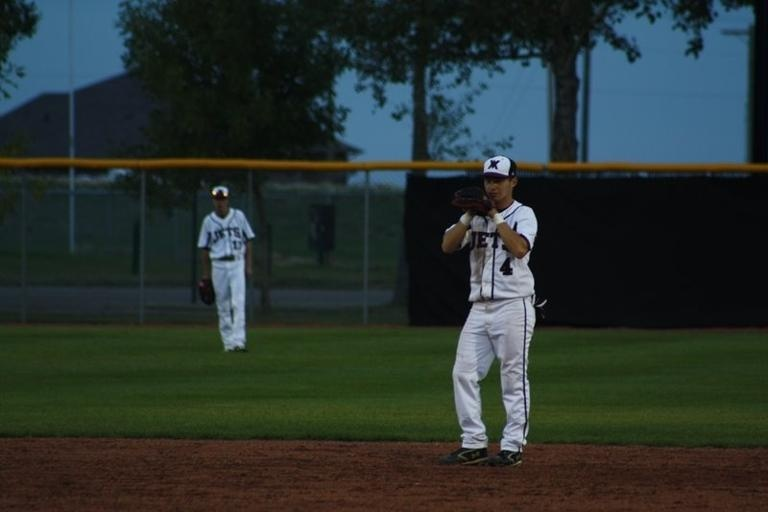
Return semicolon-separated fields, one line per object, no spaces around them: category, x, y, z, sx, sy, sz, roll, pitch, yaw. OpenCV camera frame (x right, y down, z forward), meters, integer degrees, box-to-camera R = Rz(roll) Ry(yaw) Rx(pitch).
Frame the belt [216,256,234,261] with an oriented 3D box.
belt;-2.384;0.024;23.274;0.257;0.069;0.025;0;1;-6

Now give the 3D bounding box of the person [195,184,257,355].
person;-2.397;0.200;23.385;0.730;2.422;0.583;1;1;6

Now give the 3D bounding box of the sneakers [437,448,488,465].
sneakers;0.967;2.507;19.630;0.635;0.270;0.233;1;-1;-1

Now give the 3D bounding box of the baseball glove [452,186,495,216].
baseball glove;1.088;-0.680;19.508;0.469;0.335;0.210;1;1;2

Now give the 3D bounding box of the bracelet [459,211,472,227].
bracelet;1.008;-0.464;19.582;0.147;0.158;0.155;4;3;-7

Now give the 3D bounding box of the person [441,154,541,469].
person;1.353;0.680;19.579;1.056;3.865;0.451;1;1;4

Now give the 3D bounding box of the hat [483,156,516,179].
hat;1.414;-1.115;19.532;0.400;0.273;0.381;1;1;9

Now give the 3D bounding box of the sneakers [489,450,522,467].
sneakers;1.509;2.531;19.652;0.420;0.194;0.180;1;-2;-6

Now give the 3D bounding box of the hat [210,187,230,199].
hat;-2.473;-0.952;23.346;0.238;0.155;0.277;0;3;2
